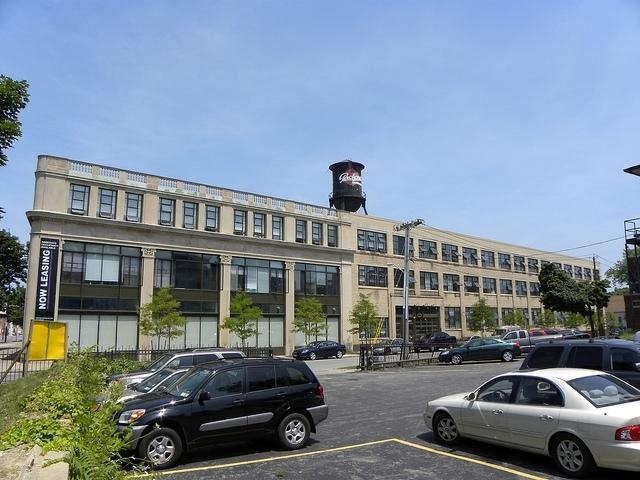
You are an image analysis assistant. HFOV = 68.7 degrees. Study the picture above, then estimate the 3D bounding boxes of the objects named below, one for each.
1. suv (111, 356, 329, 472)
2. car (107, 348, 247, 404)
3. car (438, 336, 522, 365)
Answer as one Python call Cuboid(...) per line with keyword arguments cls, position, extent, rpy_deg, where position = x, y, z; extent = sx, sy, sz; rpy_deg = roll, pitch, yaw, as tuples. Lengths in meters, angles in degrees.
Cuboid(cls="suv", position=(-2.338, 3.930, 11.162), extent=(4.394, 1.746, 2.104), rpy_deg=(6, -13, -27))
Cuboid(cls="car", position=(-4.301, 4.547, 14.998), extent=(4.203, 1.670, 1.912), rpy_deg=(5, -9, -30))
Cuboid(cls="car", position=(10.975, 7.695, 32.529), extent=(4.982, 1.528, 1.997), rpy_deg=(-1, -8, 8))
